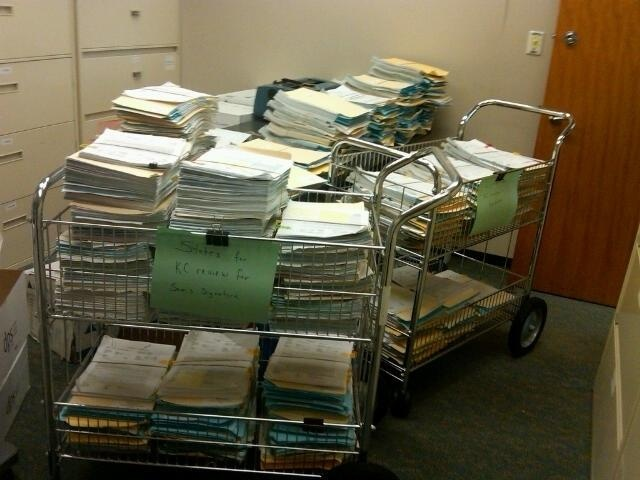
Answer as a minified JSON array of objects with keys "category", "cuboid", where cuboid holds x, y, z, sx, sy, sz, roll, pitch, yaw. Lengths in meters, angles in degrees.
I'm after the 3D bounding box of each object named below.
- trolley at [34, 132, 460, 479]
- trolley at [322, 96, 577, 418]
[{"category":"trolley","cuboid":[-0.265,0.119,1.961,1.349,1.214,1.049,5,31,-2]},{"category":"trolley","cuboid":[0.623,0.149,2.335,1.093,1.130,0.750,-2,39,-18]}]
